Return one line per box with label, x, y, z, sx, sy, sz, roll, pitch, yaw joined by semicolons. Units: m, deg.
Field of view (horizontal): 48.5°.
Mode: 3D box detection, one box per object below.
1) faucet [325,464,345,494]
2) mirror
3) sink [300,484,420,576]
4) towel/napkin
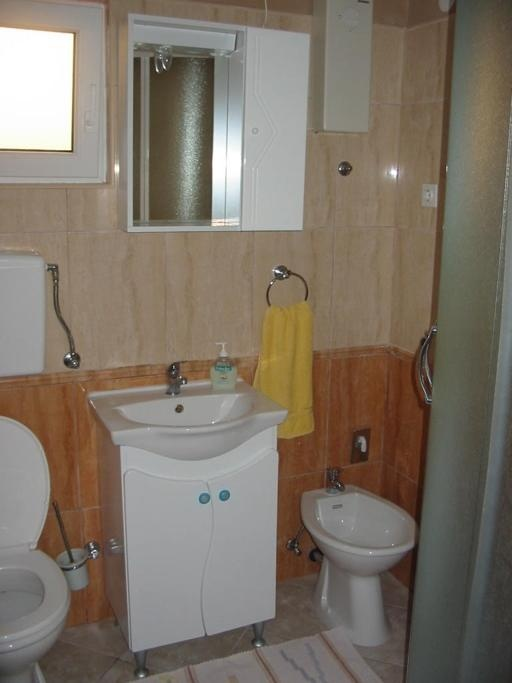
faucet;0.320;0.564;2.366;0.064;0.140;0.098;-5;12;-19
mirror;-0.254;-0.718;1.908;0.404;0.108;0.813;-6;-29;-14
sink;0.380;0.729;2.148;0.407;0.181;0.484;0;8;-5
towel/napkin;0.123;0.110;2.187;0.238;0.575;0.069;0;26;1
